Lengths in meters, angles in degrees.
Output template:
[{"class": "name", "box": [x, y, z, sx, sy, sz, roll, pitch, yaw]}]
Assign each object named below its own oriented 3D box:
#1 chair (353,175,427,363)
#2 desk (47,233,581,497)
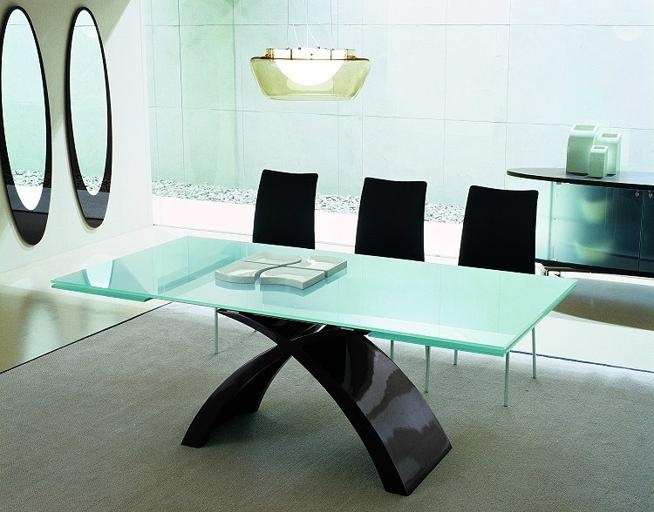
[{"class": "chair", "box": [0.439, 0.111, 3.544, 0.600, 1.109, 0.704, 12, -31, -5]}, {"class": "desk", "box": [-0.016, 0.500, 2.444, 2.154, 0.842, 1.290, 8, 16, 29]}]
